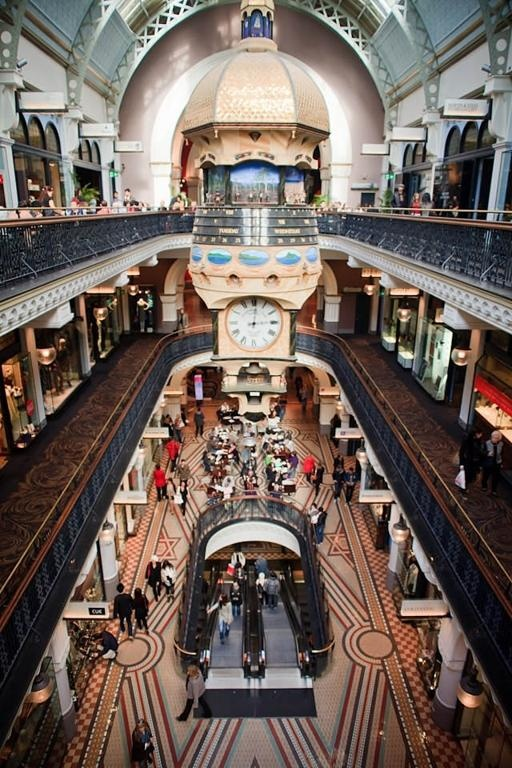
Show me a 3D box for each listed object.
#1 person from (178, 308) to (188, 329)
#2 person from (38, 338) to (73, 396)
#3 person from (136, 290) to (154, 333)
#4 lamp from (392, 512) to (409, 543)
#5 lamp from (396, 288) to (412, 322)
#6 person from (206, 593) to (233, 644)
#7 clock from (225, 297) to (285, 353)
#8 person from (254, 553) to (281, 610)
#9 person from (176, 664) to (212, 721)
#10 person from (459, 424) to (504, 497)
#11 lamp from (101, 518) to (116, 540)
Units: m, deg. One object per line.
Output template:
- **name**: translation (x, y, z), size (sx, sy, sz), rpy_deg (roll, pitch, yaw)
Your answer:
- **person**: translation (-3.259, -2.866, 19.529), size (0.402, 0.596, 1.537), rpy_deg (-3, 48, -4)
- **person**: translation (-4.232, -0.346, 9.246), size (0.499, 1.055, 1.004), rpy_deg (-1, 18, -2)
- **person**: translation (-4.580, -3.009, 18.217), size (0.695, 1.698, 0.603), rpy_deg (-6, 13, -36)
- **lamp**: translation (2.825, 2.850, 8.724), size (0.308, 0.629, 0.578), rpy_deg (5, 12, 18)
- **lamp**: translation (4.158, -2.214, 12.477), size (0.435, 0.962, 1.739), rpy_deg (5, 12, 18)
- **person**: translation (-0.830, 5.142, 9.723), size (0.592, 1.107, 0.378), rpy_deg (2, 0, -25)
- **clock**: translation (-0.059, -1.198, 8.587), size (0.867, 0.997, 0.135), rpy_deg (3, 13, -3)
- **person**: translation (0.266, 5.165, 11.830), size (0.600, 1.006, 1.491), rpy_deg (1, 11, -5)
- **person**: translation (-1.028, 5.008, 7.419), size (0.564, 1.198, 0.714), rpy_deg (1, 11, -4)
- **person**: translation (3.038, 0.989, 5.996), size (0.475, 1.045, 1.085), rpy_deg (8, 13, 32)
- **lamp**: translation (-3.071, 2.947, 9.059), size (0.220, 0.457, 0.568), rpy_deg (-1, 12, -13)
